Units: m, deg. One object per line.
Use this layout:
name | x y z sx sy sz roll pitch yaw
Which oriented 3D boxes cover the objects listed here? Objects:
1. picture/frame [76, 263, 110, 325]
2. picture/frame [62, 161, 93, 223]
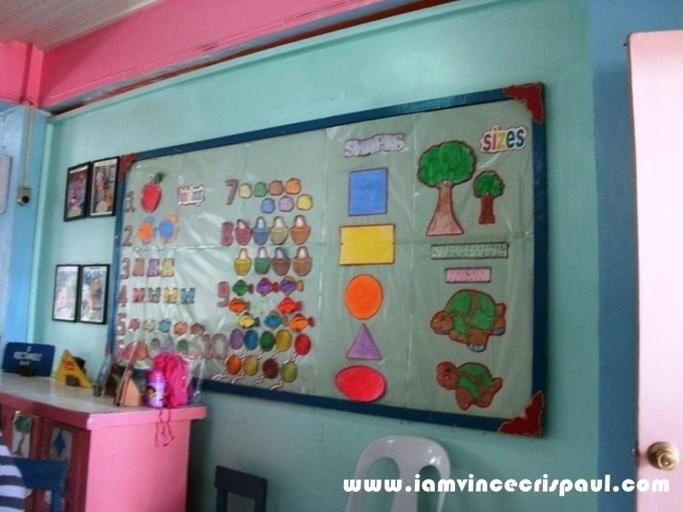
picture/frame | -1.586 0.251 3.723 0.383 0.465 0.025 0 -3 39
picture/frame | -1.776 -0.427 3.924 0.386 0.475 0.048 -4 -12 40
